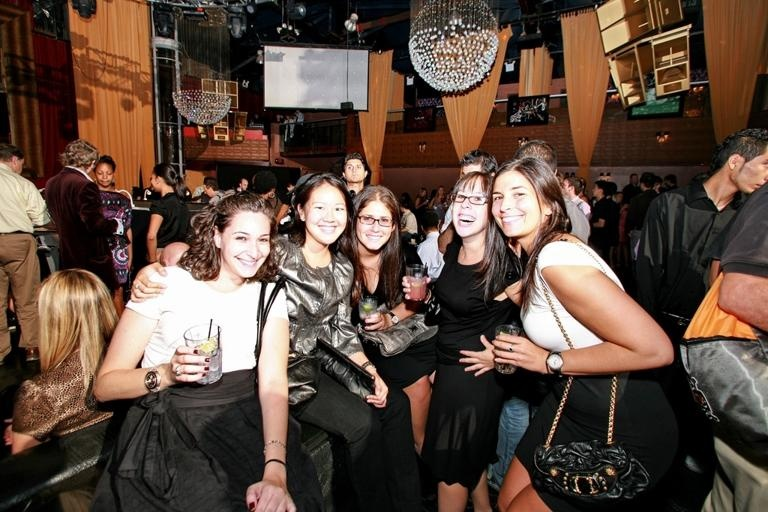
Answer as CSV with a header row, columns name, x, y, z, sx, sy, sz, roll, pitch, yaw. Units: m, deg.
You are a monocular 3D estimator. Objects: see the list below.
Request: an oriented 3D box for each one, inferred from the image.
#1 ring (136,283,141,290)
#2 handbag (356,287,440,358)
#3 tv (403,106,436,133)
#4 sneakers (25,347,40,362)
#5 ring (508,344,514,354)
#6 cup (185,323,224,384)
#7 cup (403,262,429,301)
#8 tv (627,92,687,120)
name,x,y,z,sx,sy,sz,roll,pitch,yaw
ring,-1.494,0.180,2.905,0.034,0.013,0.034,2,38,-1
handbag,0.221,0.597,3.977,0.649,0.221,0.658,-22,20,-7
tv,1.278,-4.660,16.255,0.897,0.668,0.134,9,23,28
sneakers,-3.714,1.012,5.092,0.133,0.151,0.135,-3,6,-12
ring,0.803,0.575,2.995,0.043,0.044,0.031,8,-4,-19
cup,-1.057,0.581,2.878,0.199,0.321,0.197,2,27,-1
cup,0.257,0.204,3.683,0.212,0.258,0.219,0,9,0
tv,7.163,-3.868,12.472,1.243,0.549,0.389,9,15,31
